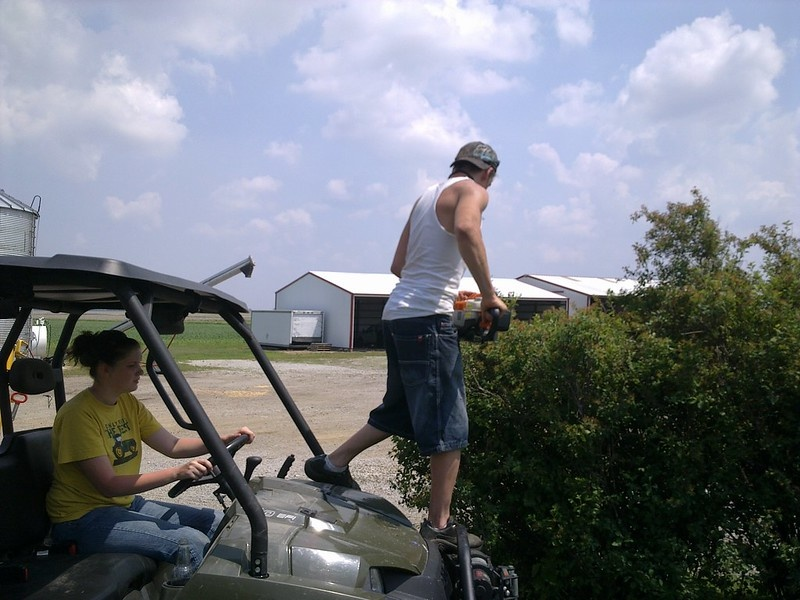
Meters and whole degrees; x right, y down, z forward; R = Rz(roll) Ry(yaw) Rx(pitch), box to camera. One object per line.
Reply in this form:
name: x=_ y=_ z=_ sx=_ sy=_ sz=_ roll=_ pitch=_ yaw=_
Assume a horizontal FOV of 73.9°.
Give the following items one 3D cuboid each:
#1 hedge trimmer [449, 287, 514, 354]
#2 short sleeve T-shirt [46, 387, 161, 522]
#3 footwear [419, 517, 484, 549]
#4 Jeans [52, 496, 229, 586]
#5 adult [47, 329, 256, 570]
hedge trimmer: x=0.434 y=0.106 z=3.251 sx=0.123 sy=0.278 sz=0.599 roll=-11 pitch=9 yaw=-29
short sleeve T-shirt: x=-1.610 y=0.867 z=2.950 sx=0.450 sy=0.696 sz=0.701 roll=-14 pitch=-11 yaw=17
footwear: x=0.271 y=1.254 z=2.909 sx=0.370 sy=0.157 sz=0.143 roll=1 pitch=3 yaw=12
Jeans: x=-1.274 y=1.119 z=2.617 sx=0.619 sy=0.200 sz=0.375 roll=11 pitch=5 yaw=4
adult: x=-1.370 y=0.937 z=2.879 sx=0.948 sy=1.498 sz=0.670 roll=0 pitch=-6 yaw=-4
